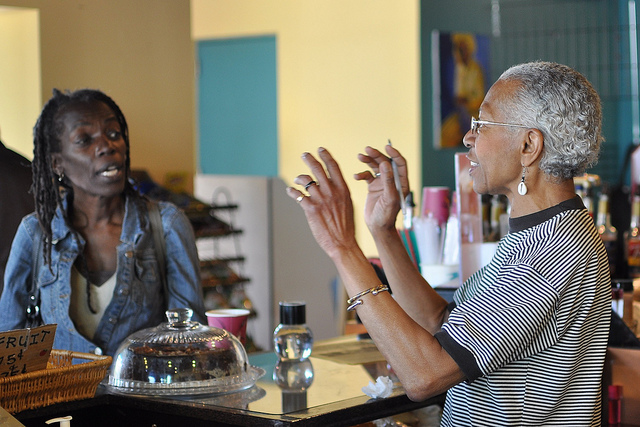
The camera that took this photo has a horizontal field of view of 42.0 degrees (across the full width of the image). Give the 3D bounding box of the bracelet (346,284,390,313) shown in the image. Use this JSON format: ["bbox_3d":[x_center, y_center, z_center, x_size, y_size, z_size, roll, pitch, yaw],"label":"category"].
[{"bbox_3d":[0.134,0.239,2.372,0.088,0.023,0.089,-43,1,10],"label":"bracelet"}]

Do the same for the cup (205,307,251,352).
[{"bbox_3d":[-0.307,0.383,2.732,0.107,0.099,0.119,-1,-7,2],"label":"cup"}]

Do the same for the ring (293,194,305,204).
[{"bbox_3d":[-0.060,-0.046,2.427,0.019,0.029,0.026,16,-7,8],"label":"ring"}]

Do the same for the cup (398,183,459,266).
[{"bbox_3d":[0.483,0.059,3.680,0.217,0.338,0.207,0,-34,0],"label":"cup"}]
